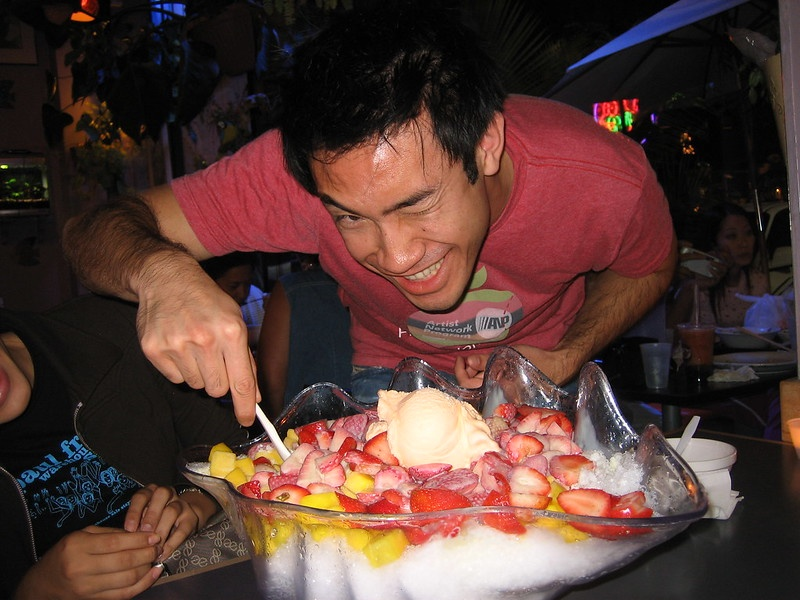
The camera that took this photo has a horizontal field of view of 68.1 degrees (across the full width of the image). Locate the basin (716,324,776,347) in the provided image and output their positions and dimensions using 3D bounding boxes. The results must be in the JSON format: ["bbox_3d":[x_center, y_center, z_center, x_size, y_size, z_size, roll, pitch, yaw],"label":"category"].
[{"bbox_3d":[1.901,0.215,3.302,0.228,0.121,0.273,-11,7,-36],"label":"basin"}]

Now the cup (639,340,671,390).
[{"bbox_3d":[1.194,0.300,2.766,0.147,0.206,0.142,-1,-3,0],"label":"cup"}]

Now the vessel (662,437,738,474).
[{"bbox_3d":[0.604,0.315,1.193,0.126,0.046,0.129,-12,9,15],"label":"vessel"}]

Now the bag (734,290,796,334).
[{"bbox_3d":[2.231,0.070,3.581,0.389,0.299,0.290,-2,12,32],"label":"bag"}]

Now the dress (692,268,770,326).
[{"bbox_3d":[2.306,-0.032,4.110,0.340,0.342,0.188,-10,2,3],"label":"dress"}]

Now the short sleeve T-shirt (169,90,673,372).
[{"bbox_3d":[0.264,-0.164,2.104,1.502,1.071,0.904,-4,55,28],"label":"short sleeve T-shirt"}]

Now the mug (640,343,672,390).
[{"bbox_3d":[1.199,0.303,2.765,0.150,0.202,0.142,3,-7,-37],"label":"mug"}]
